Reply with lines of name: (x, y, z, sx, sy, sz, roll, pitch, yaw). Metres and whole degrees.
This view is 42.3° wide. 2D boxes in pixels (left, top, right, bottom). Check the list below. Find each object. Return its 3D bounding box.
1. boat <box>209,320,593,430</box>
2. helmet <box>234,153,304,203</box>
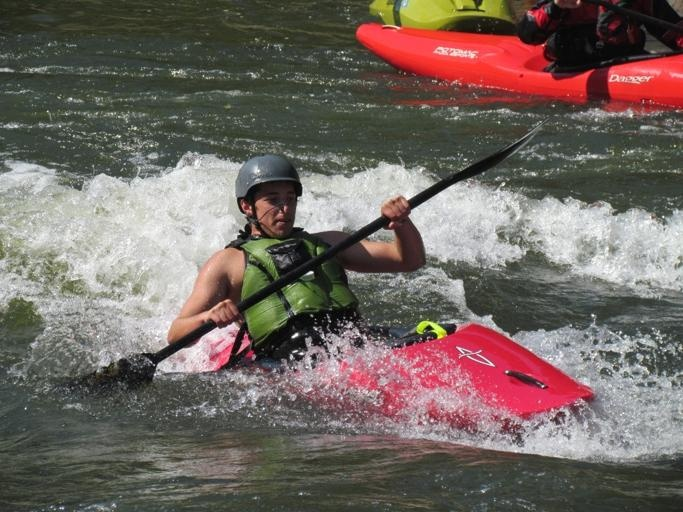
boat: (0.318, 0.667, 5.620, 2.313, 0.437, 0.714, 4, 11, 25)
helmet: (-0.514, -0.529, 6.002, 0.343, 0.228, 0.377, -8, 19, -27)
